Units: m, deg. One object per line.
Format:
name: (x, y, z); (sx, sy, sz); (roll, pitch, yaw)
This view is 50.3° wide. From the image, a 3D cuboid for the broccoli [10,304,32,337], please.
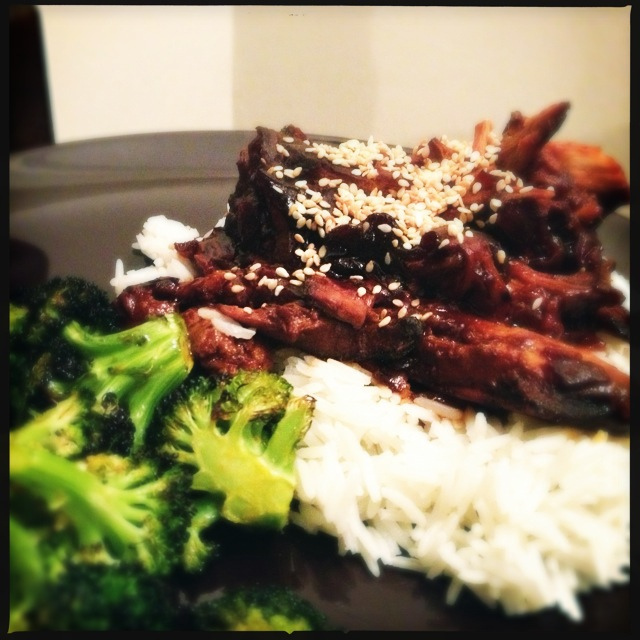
broccoli: (-1.376, 0.007, 3.116); (0.108, 0.126, 0.032); (6, -14, -18)
